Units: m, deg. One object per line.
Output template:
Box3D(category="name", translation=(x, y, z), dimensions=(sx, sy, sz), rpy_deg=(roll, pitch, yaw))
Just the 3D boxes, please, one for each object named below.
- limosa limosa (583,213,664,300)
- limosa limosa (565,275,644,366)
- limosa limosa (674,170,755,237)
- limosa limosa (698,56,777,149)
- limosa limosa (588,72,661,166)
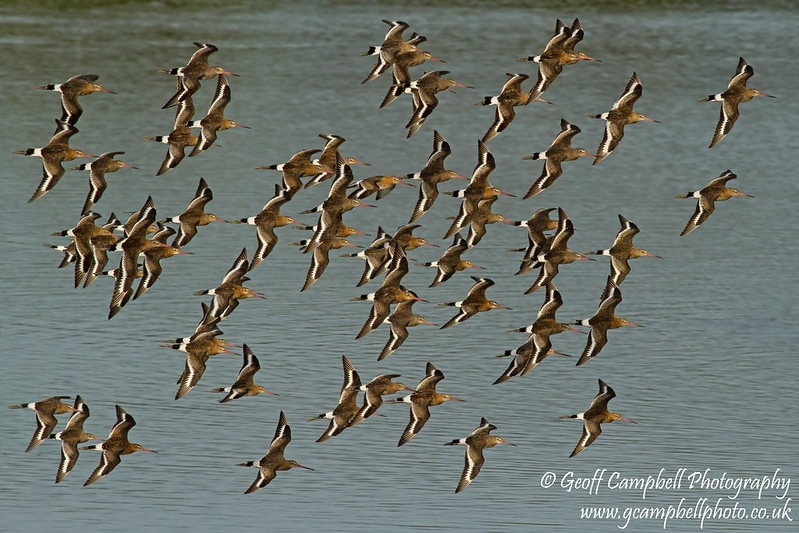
Box3D(category="limosa limosa", translation=(6.480, -0.442, 37.153), dimensions=(2.644, 1.750, 0.661), rpy_deg=(4, -19, 34))
Box3D(category="limosa limosa", translation=(5.613, 1.466, 36.181), dimensions=(1.104, 2.559, 1.118), rpy_deg=(17, -9, 16))
Box3D(category="limosa limosa", translation=(9.005, -1.928, 37.599), dimensions=(1.132, 2.029, 3.208), rpy_deg=(16, -5, 10))
Box3D(category="limosa limosa", translation=(9.748, -4.837, 37.819), dimensions=(1.018, 3.055, 1.961), rpy_deg=(19, -8, 10))
Box3D(category="limosa limosa", translation=(6.319, -4.245, 37.181), dimensions=(3.470, 2.646, 0.634), rpy_deg=(-2, 29, -37))
